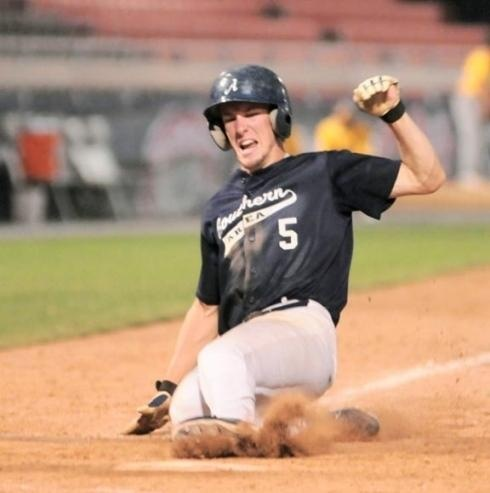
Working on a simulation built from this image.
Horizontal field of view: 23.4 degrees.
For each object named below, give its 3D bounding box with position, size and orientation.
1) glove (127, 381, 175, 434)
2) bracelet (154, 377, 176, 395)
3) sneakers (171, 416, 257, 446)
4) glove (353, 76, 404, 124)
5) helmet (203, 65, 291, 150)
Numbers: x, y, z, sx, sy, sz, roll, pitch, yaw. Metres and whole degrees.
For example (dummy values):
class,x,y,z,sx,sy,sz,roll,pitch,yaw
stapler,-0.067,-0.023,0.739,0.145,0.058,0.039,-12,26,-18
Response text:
class,x,y,z,sx,sy,sz,roll,pitch,yaw
glove,-0.554,0.824,6.503,0.114,0.153,0.345,40,50,10
bracelet,-0.450,0.781,6.602,0.086,0.074,0.087,13,-19,-19
sneakers,-0.158,0.921,5.982,0.418,0.155,0.172,-4,-28,7
glove,0.698,-0.758,6.187,0.261,0.254,0.212,-4,12,6
helmet,0.031,-0.797,6.584,0.510,0.440,0.458,-8,10,-30
